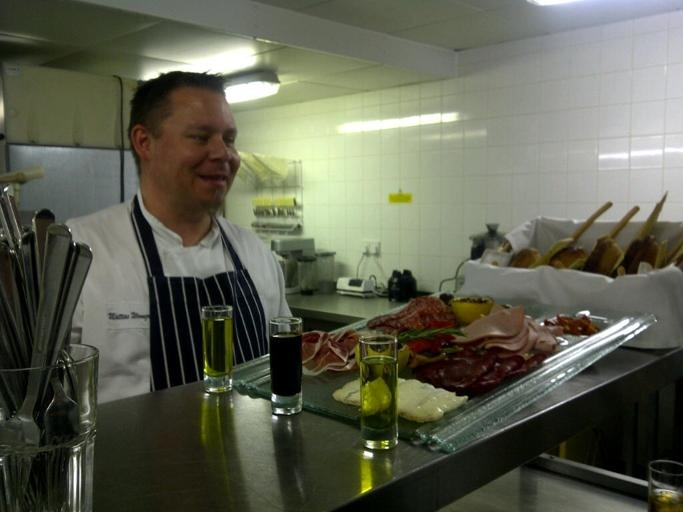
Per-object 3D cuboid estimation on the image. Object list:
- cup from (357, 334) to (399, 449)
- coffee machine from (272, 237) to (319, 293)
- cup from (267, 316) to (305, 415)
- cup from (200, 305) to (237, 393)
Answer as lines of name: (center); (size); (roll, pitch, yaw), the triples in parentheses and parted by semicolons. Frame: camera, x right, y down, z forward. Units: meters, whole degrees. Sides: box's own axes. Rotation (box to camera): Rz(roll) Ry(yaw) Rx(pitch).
cup: (0.056, 0.205, 0.796); (0.057, 0.162, 0.072); (-1, 12, 3)
coffee machine: (-0.315, 0.043, 3.984); (0.443, 0.534, 0.271); (0, 0, -43)
cup: (-0.097, 0.187, 0.905); (0.058, 0.170, 0.044); (-4, 12, -9)
cup: (-0.239, 0.172, 1.005); (0.059, 0.177, 0.092); (-7, 13, -23)
